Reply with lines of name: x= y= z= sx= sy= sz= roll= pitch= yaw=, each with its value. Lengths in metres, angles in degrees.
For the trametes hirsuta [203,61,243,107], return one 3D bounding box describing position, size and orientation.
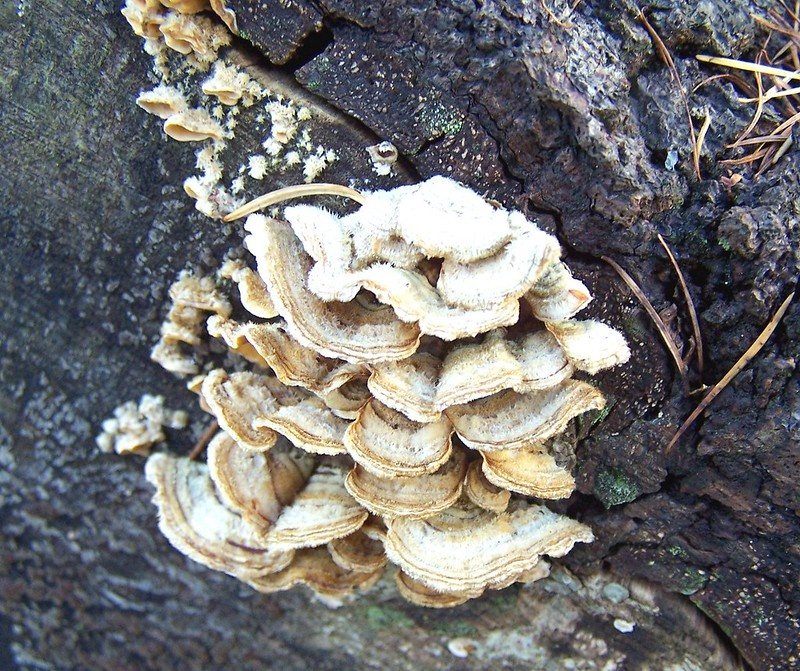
trametes hirsuta: x=-1.083 y=-1.545 z=5.500 sx=0.247 sy=0.215 sz=0.159 roll=27 pitch=43 yaw=-2
